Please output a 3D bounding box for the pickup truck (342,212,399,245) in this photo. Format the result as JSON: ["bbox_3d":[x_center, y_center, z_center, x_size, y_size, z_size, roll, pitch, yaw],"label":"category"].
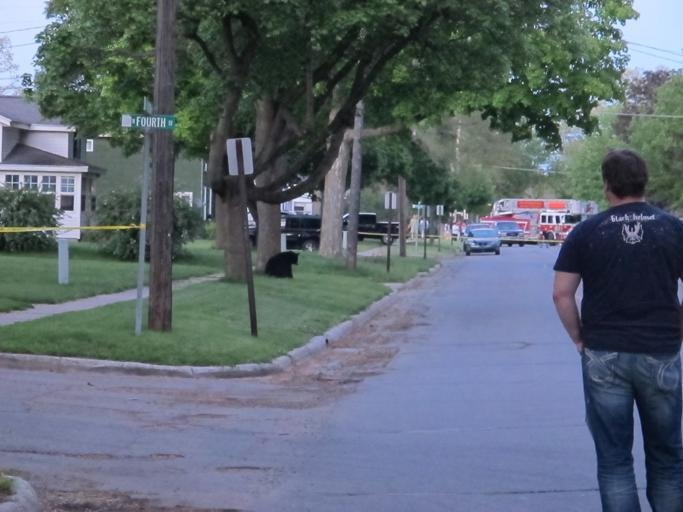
[{"bbox_3d":[1.893,-1.333,67.438,3.905,2.102,3.473,3,6,10],"label":"pickup truck"}]

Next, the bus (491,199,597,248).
[{"bbox_3d":[10.604,-1.811,62.228,5.490,4.166,8.392,2,4,4],"label":"bus"}]
